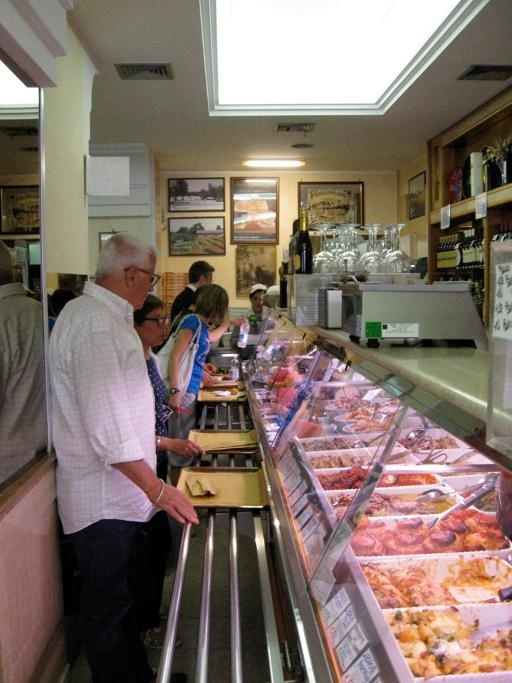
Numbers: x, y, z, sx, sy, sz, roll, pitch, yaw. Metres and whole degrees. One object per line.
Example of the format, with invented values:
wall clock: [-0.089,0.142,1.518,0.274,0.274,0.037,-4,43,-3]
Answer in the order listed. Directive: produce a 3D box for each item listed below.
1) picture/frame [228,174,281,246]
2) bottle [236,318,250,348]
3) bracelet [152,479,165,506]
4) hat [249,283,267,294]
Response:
picture/frame: [-0.032,-1.993,7.148,1.080,1.280,0.089,0,6,-2]
bottle: [-0.101,-0.076,4.050,0.080,0.077,0.283,5,-24,-7]
bracelet: [-0.282,0.440,1.431,0.016,0.057,0.056,13,-8,-29]
hat: [0.026,-0.650,5.859,0.185,0.091,0.255,0,6,-3]
